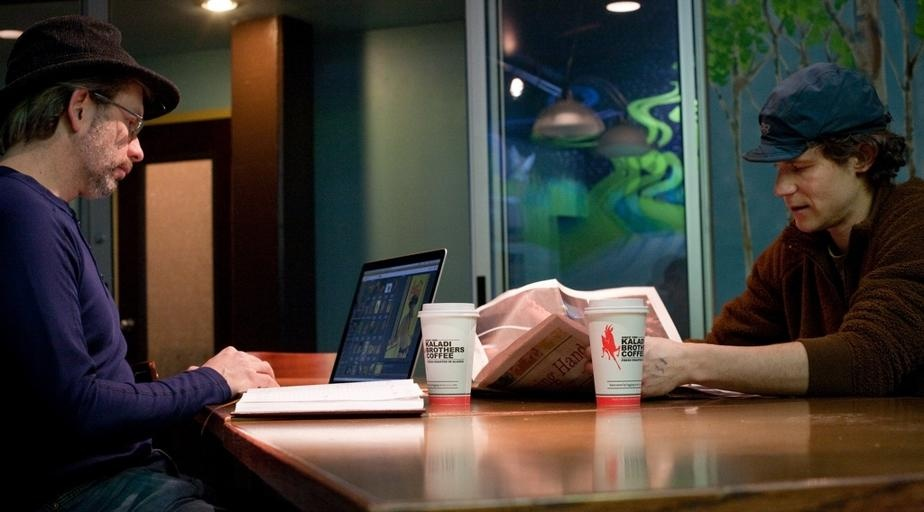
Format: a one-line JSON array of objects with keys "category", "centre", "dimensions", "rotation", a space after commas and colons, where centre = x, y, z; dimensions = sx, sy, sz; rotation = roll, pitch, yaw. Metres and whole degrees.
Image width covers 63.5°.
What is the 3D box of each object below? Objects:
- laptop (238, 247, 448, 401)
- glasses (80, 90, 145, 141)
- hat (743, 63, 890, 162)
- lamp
[{"category": "laptop", "centre": [-0.344, 0.216, 2.478], "dimensions": [0.355, 0.424, 0.551], "rotation": [16, -11, -43]}, {"category": "glasses", "centre": [-1.124, -0.460, 2.435], "dimensions": [0.142, 0.039, 0.132], "rotation": [20, -1, 26]}, {"category": "hat", "centre": [1.119, -0.446, 2.454], "dimensions": [0.432, 0.194, 0.295], "rotation": [-14, 7, -4]}, {"category": "lamp", "centre": [0.746, -0.880, 4.122], "dimensions": [0.731, 0.626, 0.347], "rotation": [4, -9, -12]}]
